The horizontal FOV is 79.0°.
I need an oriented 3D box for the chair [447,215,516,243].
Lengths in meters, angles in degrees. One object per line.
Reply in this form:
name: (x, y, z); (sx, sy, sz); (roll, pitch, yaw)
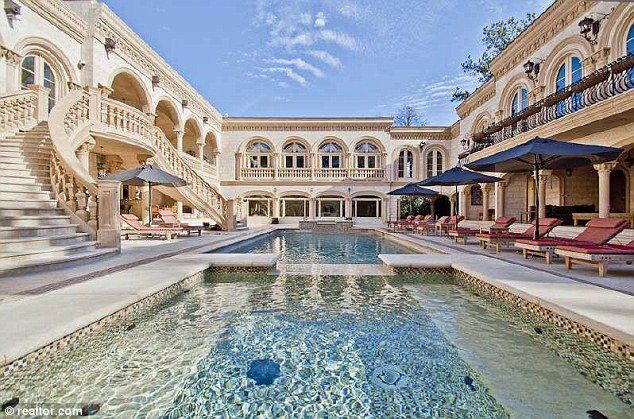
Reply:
chair: (6.576, 0.797, 15.604); (2.727, 0.955, 1.410); (0, -2, 7)

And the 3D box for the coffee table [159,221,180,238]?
coffee table: (-6.460, 0.865, 16.898); (0.806, 0.353, 1.005); (0, 0, -8)

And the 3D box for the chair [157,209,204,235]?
chair: (-6.948, 0.628, 18.206); (2.689, 1.186, 1.726); (-1, 0, 10)

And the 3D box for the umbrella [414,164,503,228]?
umbrella: (6.737, -0.750, 18.037); (3.181, 1.720, 3.029); (-3, 4, -35)

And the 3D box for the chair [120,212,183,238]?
chair: (-7.419, 0.684, 16.810); (2.774, 0.935, 1.265); (0, 0, -5)

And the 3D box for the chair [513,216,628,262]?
chair: (7.772, 0.898, 11.786); (3.061, 1.100, 1.554); (-1, -3, 10)

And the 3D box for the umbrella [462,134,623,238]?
umbrella: (8.296, -0.455, 13.607); (4.631, 2.760, 4.687); (-6, 6, -25)

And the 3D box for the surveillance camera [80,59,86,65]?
surveillance camera: (-11.217, -7.042, 18.432); (0.290, 0.272, 0.166); (3, -5, -37)
